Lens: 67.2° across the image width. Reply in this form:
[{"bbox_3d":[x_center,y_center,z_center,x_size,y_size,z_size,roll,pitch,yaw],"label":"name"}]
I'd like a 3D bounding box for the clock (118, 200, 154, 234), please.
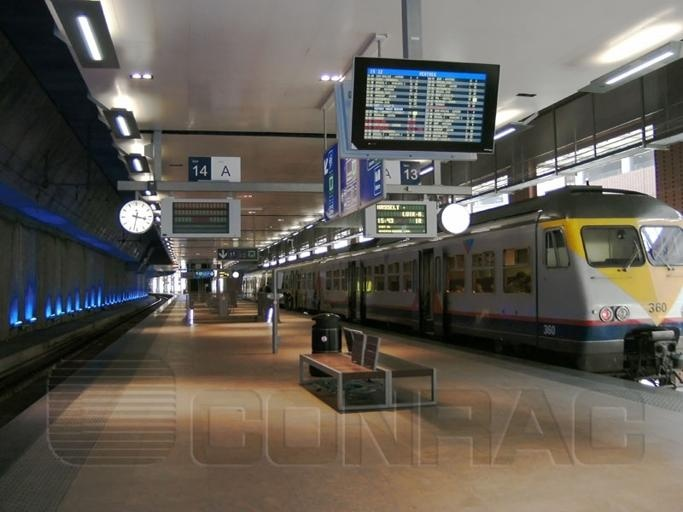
[{"bbox_3d":[-5.584,-1.107,13.987,0.820,0.948,0.600,0,-4,-13],"label":"clock"}]
